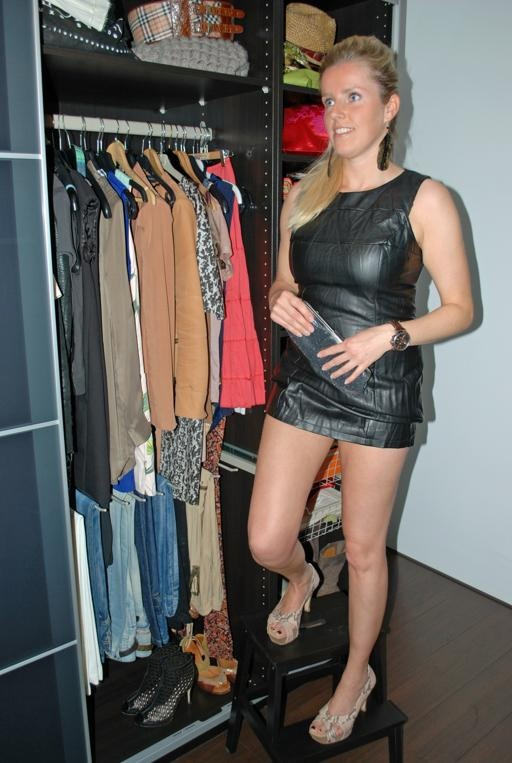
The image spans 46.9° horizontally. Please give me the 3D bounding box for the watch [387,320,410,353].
[{"bbox_3d":[0.310,-0.102,1.290,0.039,0.063,0.062,-6,33,3],"label":"watch"}]

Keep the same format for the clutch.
[{"bbox_3d":[0.166,-0.070,1.343,0.183,0.200,0.071,8,13,38],"label":"clutch"}]

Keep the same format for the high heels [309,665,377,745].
[{"bbox_3d":[0.235,0.827,1.518,0.215,0.103,0.074,-25,23,-34],"label":"high heels"}]

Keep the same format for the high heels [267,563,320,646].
[{"bbox_3d":[0.101,0.616,1.648,0.124,0.197,0.130,-3,15,-25],"label":"high heels"}]

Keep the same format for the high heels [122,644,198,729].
[{"bbox_3d":[-0.291,0.968,1.881,0.121,0.081,0.198,13,22,29],"label":"high heels"}]

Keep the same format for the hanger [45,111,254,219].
[{"bbox_3d":[-0.421,-0.639,1.812,0.763,0.279,0.484,-16,25,-39],"label":"hanger"}]
